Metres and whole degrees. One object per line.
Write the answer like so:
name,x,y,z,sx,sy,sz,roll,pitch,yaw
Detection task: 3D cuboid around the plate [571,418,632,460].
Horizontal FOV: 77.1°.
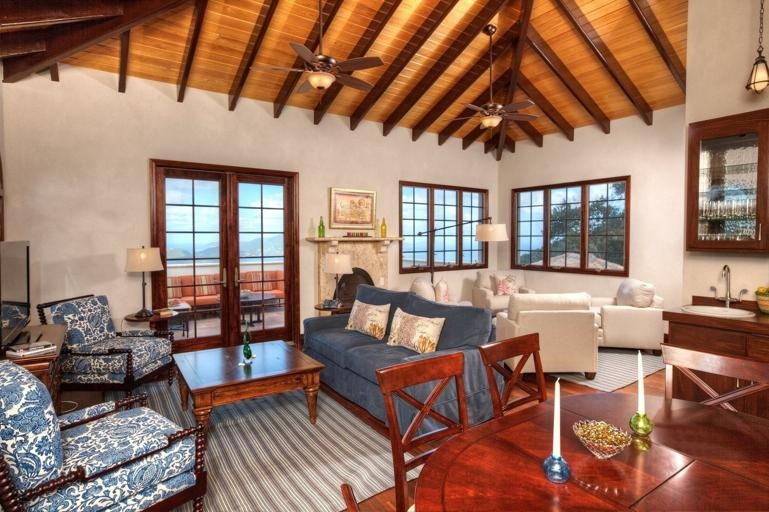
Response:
plate,1.304,1.096,2.905,0.263,0.107,0.254,4,2,-16

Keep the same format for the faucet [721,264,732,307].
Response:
faucet,3.477,0.313,4.890,0.073,0.419,0.165,-1,2,35

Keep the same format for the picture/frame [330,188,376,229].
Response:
picture/frame,-0.557,-0.784,7.999,0.749,0.506,0.034,-1,6,-35

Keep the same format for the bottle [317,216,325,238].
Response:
bottle,-0.997,-0.450,7.644,0.131,0.351,0.361,-2,1,-6

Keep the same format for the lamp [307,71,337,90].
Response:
lamp,-0.651,-1.816,5.043,0.271,0.146,0.286,-2,0,-2
